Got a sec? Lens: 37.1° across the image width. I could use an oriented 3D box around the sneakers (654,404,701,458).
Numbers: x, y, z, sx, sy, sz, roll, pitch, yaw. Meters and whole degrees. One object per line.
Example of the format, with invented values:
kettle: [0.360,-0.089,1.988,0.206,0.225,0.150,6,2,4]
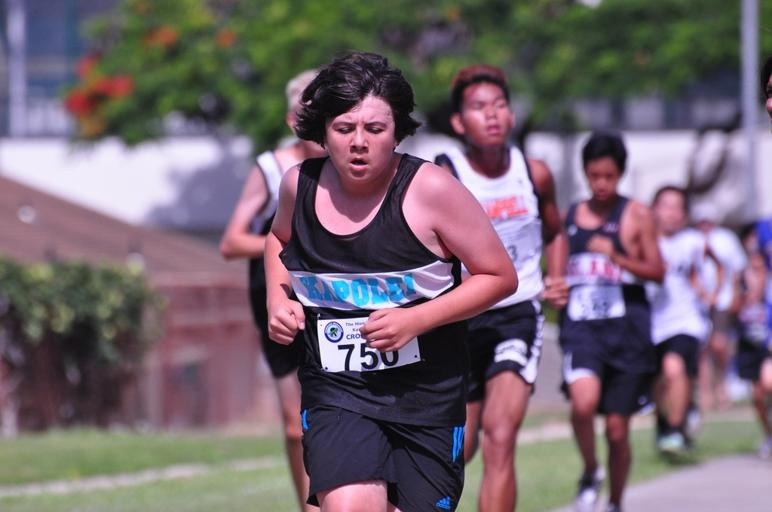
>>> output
sneakers: [2.175,1.296,8.614,0.166,0.288,0.397,-46,9,36]
